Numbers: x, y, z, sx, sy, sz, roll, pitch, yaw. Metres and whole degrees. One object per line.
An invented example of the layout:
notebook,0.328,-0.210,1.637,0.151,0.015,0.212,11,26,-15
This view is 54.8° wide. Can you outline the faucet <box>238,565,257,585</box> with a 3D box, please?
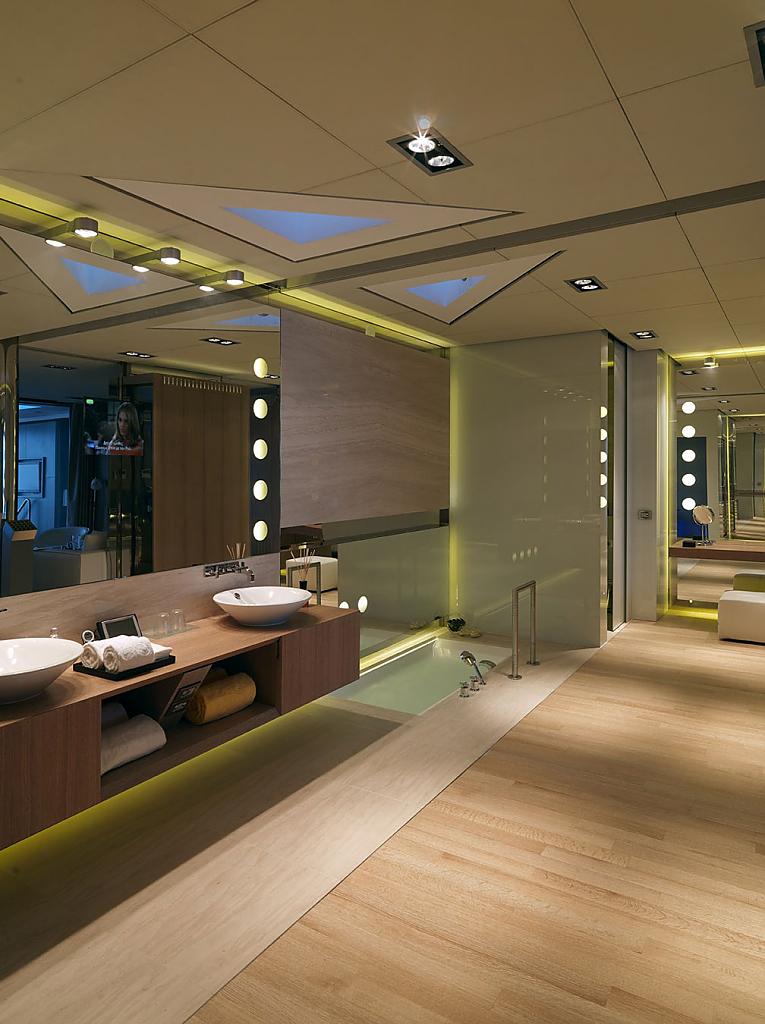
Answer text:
faucet,-0.765,0.361,4.236,0.088,0.115,0.126,4,5,31
